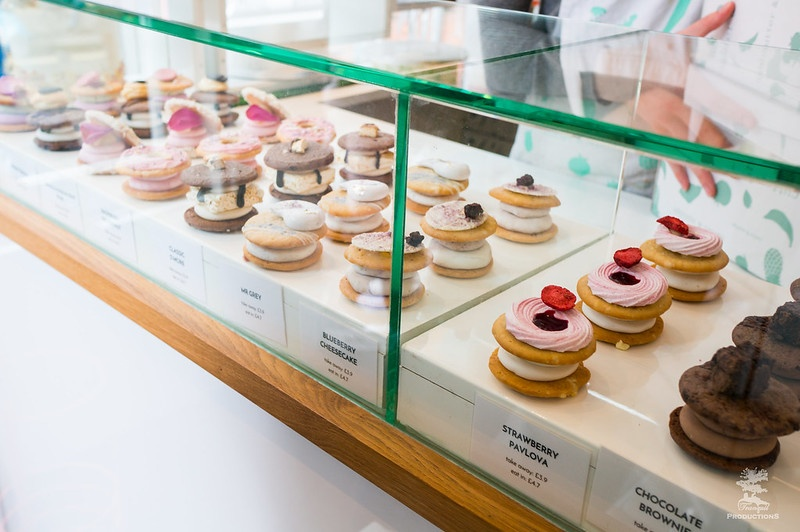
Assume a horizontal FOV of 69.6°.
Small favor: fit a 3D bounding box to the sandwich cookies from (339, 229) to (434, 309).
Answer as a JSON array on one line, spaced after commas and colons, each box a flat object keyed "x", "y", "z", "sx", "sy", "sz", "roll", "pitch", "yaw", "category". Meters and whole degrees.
[{"x": -0.054, "y": 0.004, "z": 1.364, "sx": 0.202, "sy": 0.107, "sz": 0.184, "roll": -6, "pitch": 22, "yaw": -12, "category": "sandwich cookies"}]

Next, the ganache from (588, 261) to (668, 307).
[{"x": 0.510, "y": 0.042, "z": 1.305, "sx": 0.133, "sy": 0.039, "sz": 0.120, "roll": -7, "pitch": 32, "yaw": -2, "category": "ganache"}]

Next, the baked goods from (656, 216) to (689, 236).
[{"x": 0.617, "y": -0.093, "z": 1.318, "sx": 0.060, "sy": 0.022, "sz": 0.038, "roll": 20, "pitch": 7, "yaw": -2, "category": "baked goods"}]

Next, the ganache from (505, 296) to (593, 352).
[{"x": 0.307, "y": 0.123, "z": 1.188, "sx": 0.119, "sy": 0.030, "sz": 0.118, "roll": 20, "pitch": 30, "yaw": 22, "category": "ganache"}]

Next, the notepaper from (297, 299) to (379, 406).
[{"x": -0.139, "y": 0.198, "z": 1.351, "sx": 0.233, "sy": 0.142, "sz": 0.127, "roll": 27, "pitch": 37, "yaw": 36, "category": "notepaper"}]

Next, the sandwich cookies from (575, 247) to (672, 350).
[{"x": 0.476, "y": 0.082, "z": 1.320, "sx": 0.222, "sy": 0.180, "sz": 0.211, "roll": -4, "pitch": 32, "yaw": 4, "category": "sandwich cookies"}]

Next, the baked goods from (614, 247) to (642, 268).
[{"x": 0.514, "y": -0.023, "z": 1.327, "sx": 0.053, "sy": 0.016, "sz": 0.052, "roll": 12, "pitch": 39, "yaw": 34, "category": "baked goods"}]

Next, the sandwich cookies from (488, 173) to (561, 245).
[{"x": 0.306, "y": -0.141, "z": 1.494, "sx": 0.190, "sy": 0.138, "sz": 0.178, "roll": 7, "pitch": 25, "yaw": 19, "category": "sandwich cookies"}]

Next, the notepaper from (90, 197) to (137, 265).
[{"x": -0.867, "y": -0.113, "z": 1.758, "sx": 0.197, "sy": 0.131, "sz": 0.006, "roll": 30, "pitch": 38, "yaw": 31, "category": "notepaper"}]

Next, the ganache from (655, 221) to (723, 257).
[{"x": 0.645, "y": -0.054, "z": 1.304, "sx": 0.088, "sy": 0.027, "sz": 0.088, "roll": -17, "pitch": 32, "yaw": -38, "category": "ganache"}]

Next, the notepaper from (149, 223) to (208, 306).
[{"x": -0.615, "y": -0.012, "z": 1.619, "sx": 0.232, "sy": 0.153, "sz": 0.009, "roll": 25, "pitch": 38, "yaw": 31, "category": "notepaper"}]

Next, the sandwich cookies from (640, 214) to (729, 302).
[{"x": 0.679, "y": -0.007, "z": 1.355, "sx": 0.185, "sy": 0.159, "sz": 0.181, "roll": -27, "pitch": 35, "yaw": -30, "category": "sandwich cookies"}]

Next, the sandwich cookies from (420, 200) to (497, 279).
[{"x": 0.137, "y": -0.048, "z": 1.402, "sx": 0.210, "sy": 0.161, "sz": 0.179, "roll": 2, "pitch": 34, "yaw": 5, "category": "sandwich cookies"}]
